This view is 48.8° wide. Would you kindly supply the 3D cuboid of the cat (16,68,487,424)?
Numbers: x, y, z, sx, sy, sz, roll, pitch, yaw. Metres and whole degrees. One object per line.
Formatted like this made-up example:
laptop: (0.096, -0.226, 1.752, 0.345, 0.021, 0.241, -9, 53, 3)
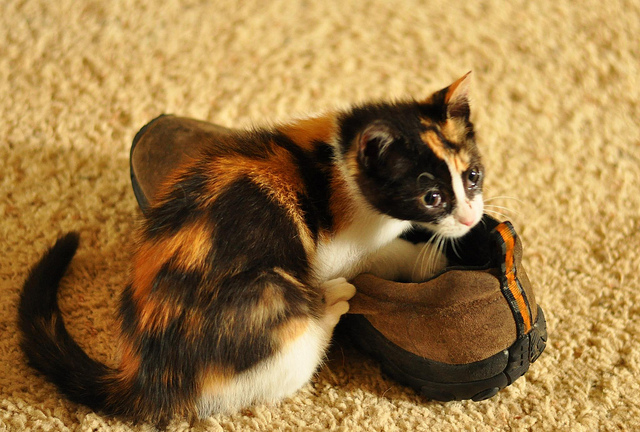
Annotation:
cat: (-0.171, 0.262, 2.150, 1.184, 0.613, 0.873, -19, 56, -9)
